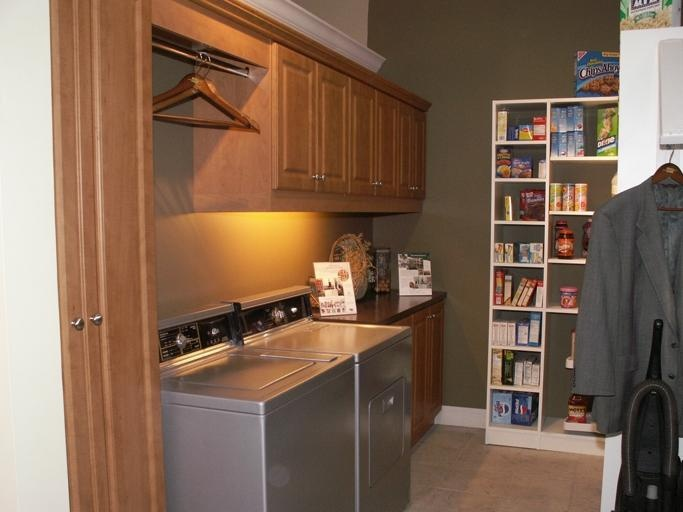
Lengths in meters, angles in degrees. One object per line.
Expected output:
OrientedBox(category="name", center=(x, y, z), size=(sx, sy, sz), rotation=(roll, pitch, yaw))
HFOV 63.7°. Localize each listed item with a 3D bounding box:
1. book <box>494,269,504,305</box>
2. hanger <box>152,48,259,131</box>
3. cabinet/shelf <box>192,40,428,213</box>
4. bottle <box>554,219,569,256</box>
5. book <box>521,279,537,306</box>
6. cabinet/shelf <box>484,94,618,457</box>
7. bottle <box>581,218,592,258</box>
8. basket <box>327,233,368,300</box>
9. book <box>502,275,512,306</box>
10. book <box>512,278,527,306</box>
OrientedBox(category="book", center=(1.176, 0.242, 4.116), size=(0.085, 0.243, 0.248), rotation=(0, 4, 12))
OrientedBox(category="hanger", center=(-0.623, -0.772, 2.530), size=(0.518, 0.353, 0.070), rotation=(4, -10, -44))
OrientedBox(category="cabinet/shelf", center=(-0.065, -0.679, 3.336), size=(0.403, 0.915, 1.843), rotation=(11, 13, 32))
OrientedBox(category="bottle", center=(1.617, -0.124, 4.096), size=(0.075, 0.277, 0.273), rotation=(7, 12, 15))
OrientedBox(category="book", center=(1.395, 0.281, 4.073), size=(0.120, 0.193, 0.054), rotation=(-1, 12, -24))
OrientedBox(category="cabinet/shelf", center=(1.495, 0.122, 4.113), size=(0.978, 2.570, 0.680), rotation=(6, 11, 13))
OrientedBox(category="bottle", center=(1.749, -0.109, 3.961), size=(0.042, 0.284, 0.482), rotation=(8, 12, 21))
OrientedBox(category="basket", center=(0.045, 0.137, 4.028), size=(0.364, 0.563, 0.327), rotation=(-4, -3, -14))
OrientedBox(category="book", center=(1.230, 0.262, 4.110), size=(0.067, 0.202, 0.210), rotation=(0, 5, 15))
OrientedBox(category="book", center=(1.333, 0.277, 4.129), size=(0.039, 0.173, 0.172), rotation=(24, 4, 27))
